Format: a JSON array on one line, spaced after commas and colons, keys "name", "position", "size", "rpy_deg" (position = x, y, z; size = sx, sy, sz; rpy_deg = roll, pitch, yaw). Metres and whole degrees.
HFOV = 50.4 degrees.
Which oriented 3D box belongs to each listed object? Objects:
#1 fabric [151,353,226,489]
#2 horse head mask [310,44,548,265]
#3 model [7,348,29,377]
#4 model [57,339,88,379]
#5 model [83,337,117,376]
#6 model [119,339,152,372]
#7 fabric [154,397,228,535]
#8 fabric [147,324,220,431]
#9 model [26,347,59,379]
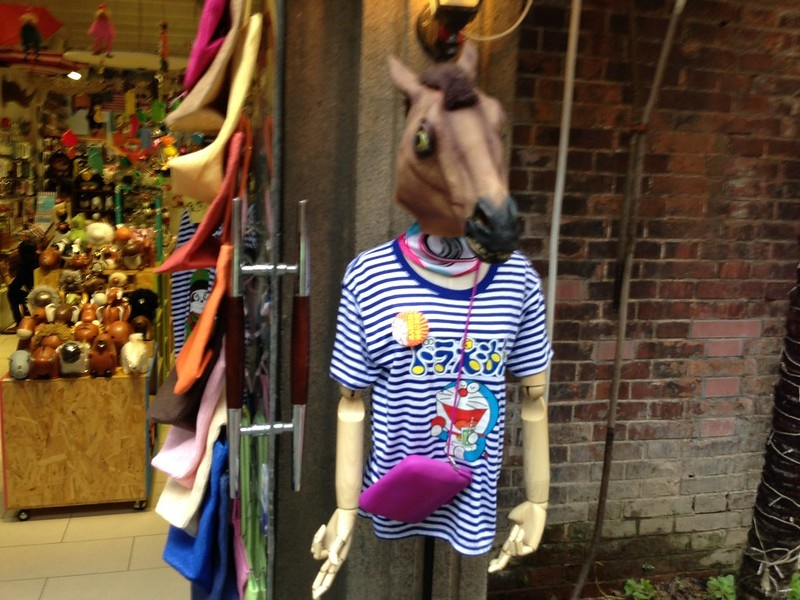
[{"name": "fabric", "position": [-0.689, 0.404, 2.957], "size": [0.168, 0.437, 0.439], "rpy_deg": [23, -16, -20]}, {"name": "horse head mask", "position": [0.189, -0.490, 2.729], "size": [0.528, 0.955, 0.632], "rpy_deg": [-11, 17, -22]}, {"name": "model", "position": [-2.153, 0.343, 4.730], "size": [0.091, 0.091, 0.163], "rpy_deg": [3, 29, -15]}, {"name": "model", "position": [-1.853, 0.332, 4.771], "size": [0.159, 0.195, 0.201], "rpy_deg": [2, -10, -3]}, {"name": "model", "position": [-1.729, 0.320, 4.862], "size": [0.145, 0.183, 0.106], "rpy_deg": [1, 0, -14]}, {"name": "model", "position": [-1.556, 0.321, 4.940], "size": [0.204, 0.151, 0.141], "rpy_deg": [0, 1, 29]}, {"name": "fabric", "position": [-0.705, 0.568, 2.940], "size": [0.153, 0.412, 0.418], "rpy_deg": [21, -8, -24]}, {"name": "fabric", "position": [-0.756, 0.241, 2.941], "size": [0.106, 0.336, 0.336], "rpy_deg": [24, -25, -12]}, {"name": "model", "position": [-2.009, 0.341, 4.732], "size": [0.139, 0.152, 0.194], "rpy_deg": [6, -11, -29]}]
